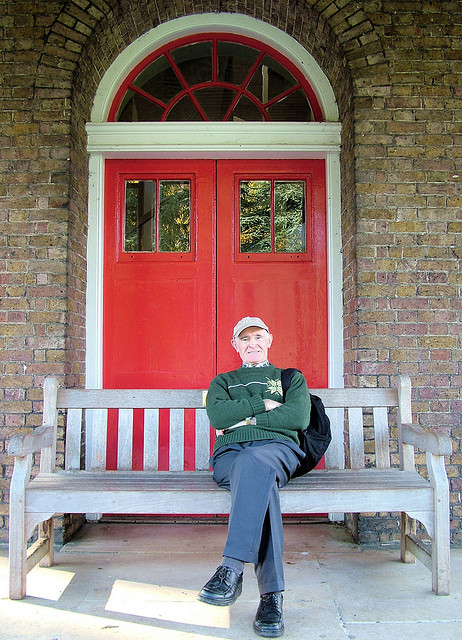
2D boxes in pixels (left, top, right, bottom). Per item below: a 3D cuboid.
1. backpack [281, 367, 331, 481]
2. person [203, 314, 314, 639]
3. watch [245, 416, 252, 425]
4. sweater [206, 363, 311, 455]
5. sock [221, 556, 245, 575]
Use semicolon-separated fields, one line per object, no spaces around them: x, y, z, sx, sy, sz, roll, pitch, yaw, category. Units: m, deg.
0.376;0.506;3.055;0.310;0.479;0.338;3;-4;-13;backpack
0.106;0.594;2.682;0.507;1.236;0.868;0;-2;8;person
0.079;0.462;2.816;0.033;0.034;0.010;0;-2;10;watch
0.124;0.408;2.947;0.484;0.428;0.251;-4;-21;13;sweater
0.009;0.944;2.355;0.083;0.074;0.060;0;-2;-1;sock
